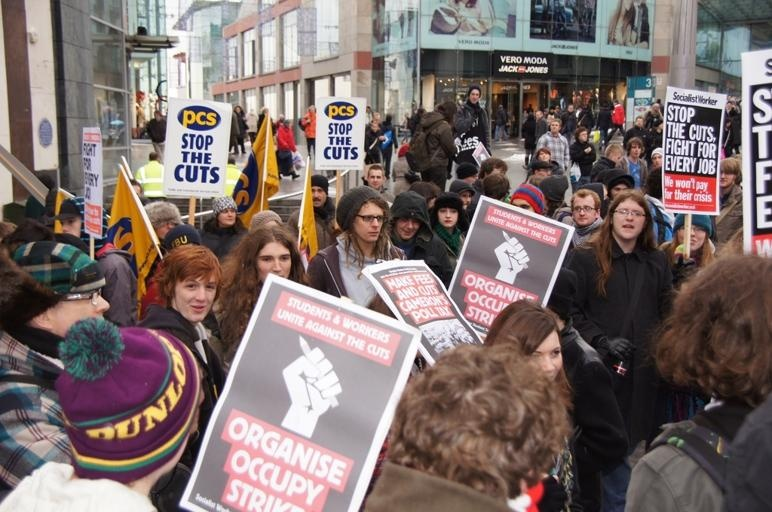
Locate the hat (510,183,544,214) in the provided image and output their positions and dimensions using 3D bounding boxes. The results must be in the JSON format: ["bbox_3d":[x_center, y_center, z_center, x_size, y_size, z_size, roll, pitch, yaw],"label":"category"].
[{"bbox_3d":[1.697,-0.676,7.979,0.287,0.335,0.406,22,9,30],"label":"hat"}]

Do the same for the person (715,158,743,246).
[{"bbox_3d":[4.966,-0.804,9.729,0.328,1.158,0.718,6,13,26],"label":"person"}]

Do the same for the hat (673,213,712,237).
[{"bbox_3d":[3.397,-0.352,7.424,0.400,0.283,0.494,5,14,19],"label":"hat"}]

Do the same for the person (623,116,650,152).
[{"bbox_3d":[6.700,-3.071,17.888,0.661,1.492,0.386,-1,37,18],"label":"person"}]

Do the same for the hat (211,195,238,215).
[{"bbox_3d":[-2.046,-0.624,8.515,0.193,0.217,0.253,-9,-7,-38],"label":"hat"}]

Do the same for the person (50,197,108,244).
[{"bbox_3d":[-3.726,-0.369,8.281,0.603,0.484,0.840,6,15,6],"label":"person"}]

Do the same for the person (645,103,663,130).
[{"bbox_3d":[7.310,-3.811,18.394,0.415,0.646,1.359,5,14,20],"label":"person"}]

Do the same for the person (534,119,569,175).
[{"bbox_3d":[3.887,-2.208,15.578,0.685,1.878,0.453,2,-5,0],"label":"person"}]

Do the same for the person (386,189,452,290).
[{"bbox_3d":[0.334,-0.124,7.433,0.850,1.283,0.649,2,17,17],"label":"person"}]

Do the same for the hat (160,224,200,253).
[{"bbox_3d":[-2.065,-0.175,6.752,0.267,0.219,0.206,-23,1,21],"label":"hat"}]

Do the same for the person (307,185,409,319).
[{"bbox_3d":[-0.243,-0.027,6.685,1.212,1.298,0.638,-2,2,-32],"label":"person"}]

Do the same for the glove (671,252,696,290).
[{"bbox_3d":[2.730,0.138,6.190,0.113,0.289,0.212,19,-7,-31],"label":"glove"}]

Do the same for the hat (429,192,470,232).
[{"bbox_3d":[0.740,-0.512,8.020,0.467,0.472,0.456,-7,-17,38],"label":"hat"}]

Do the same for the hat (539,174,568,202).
[{"bbox_3d":[2.279,-0.958,9.173,0.356,0.315,0.274,26,39,33],"label":"hat"}]

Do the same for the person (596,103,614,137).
[{"bbox_3d":[9.456,-5.835,29.064,0.541,1.437,1.834,4,13,18],"label":"person"}]

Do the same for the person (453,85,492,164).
[{"bbox_3d":[1.653,-2.561,13.187,0.632,1.442,1.076,2,12,10],"label":"person"}]

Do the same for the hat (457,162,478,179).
[{"bbox_3d":[1.250,-1.340,10.463,0.277,0.260,0.281,5,14,22],"label":"hat"}]

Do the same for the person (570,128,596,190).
[{"bbox_3d":[4.509,-2.236,15.474,0.535,1.375,0.999,4,13,16],"label":"person"}]

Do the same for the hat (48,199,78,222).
[{"bbox_3d":[-3.767,-0.538,7.902,0.209,0.166,0.298,-2,2,28],"label":"hat"}]

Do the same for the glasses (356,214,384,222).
[{"bbox_3d":[-0.145,-0.359,6.438,0.251,0.071,0.080,-4,13,-21],"label":"glasses"}]

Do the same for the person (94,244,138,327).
[{"bbox_3d":[-2.485,0.294,6.237,0.357,0.954,0.658,-5,7,-15],"label":"person"}]
